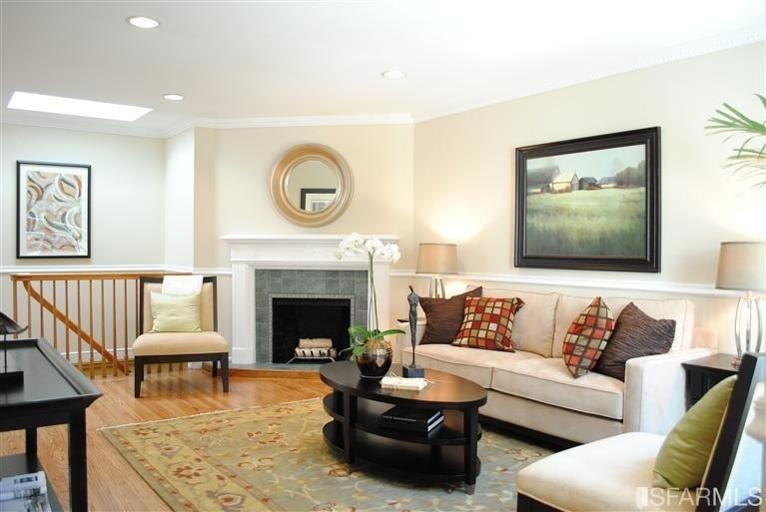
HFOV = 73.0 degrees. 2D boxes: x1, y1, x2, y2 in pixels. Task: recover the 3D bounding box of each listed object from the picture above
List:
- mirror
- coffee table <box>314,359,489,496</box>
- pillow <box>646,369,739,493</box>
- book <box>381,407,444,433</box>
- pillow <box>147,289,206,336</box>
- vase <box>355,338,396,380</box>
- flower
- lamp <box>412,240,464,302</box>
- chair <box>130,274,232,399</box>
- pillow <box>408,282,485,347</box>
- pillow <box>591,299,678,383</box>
[{"bbox_3d":[-0.904,-0.879,6.352,1.104,0.928,1.023,4,-7,-4],"label":"mirror"},{"bbox_3d":[0.124,1.222,3.817,1.278,0.635,0.594,3,5,28],"label":"coffee table"},{"bbox_3d":[1.629,0.921,2.738,0.388,0.550,0.713,2,-11,32],"label":"pillow"},{"bbox_3d":[0.204,1.140,3.673,0.362,0.118,0.284,3,5,29],"label":"book"},{"bbox_3d":[-2.241,0.608,5.586,0.521,0.372,0.183,-1,-20,-9],"label":"pillow"},{"bbox_3d":[-0.058,0.762,3.867,0.317,0.237,0.310,1,-7,-3],"label":"vase"},{"bbox_3d":[-0.105,0.393,4.693,0.704,1.101,0.598,-4,-1,0],"label":"flower"},{"bbox_3d":[0.597,0.236,5.758,0.530,0.674,0.503,6,-10,-37],"label":"lamp"},{"bbox_3d":[-2.189,0.815,5.588,0.907,1.158,0.864,-1,5,-20],"label":"chair"},{"bbox_3d":[0.719,0.621,5.218,0.826,0.584,0.285,-1,-8,-26],"label":"pillow"},{"bbox_3d":[1.929,0.647,3.956,0.166,0.519,0.562,37,-7,-39],"label":"pillow"}]
